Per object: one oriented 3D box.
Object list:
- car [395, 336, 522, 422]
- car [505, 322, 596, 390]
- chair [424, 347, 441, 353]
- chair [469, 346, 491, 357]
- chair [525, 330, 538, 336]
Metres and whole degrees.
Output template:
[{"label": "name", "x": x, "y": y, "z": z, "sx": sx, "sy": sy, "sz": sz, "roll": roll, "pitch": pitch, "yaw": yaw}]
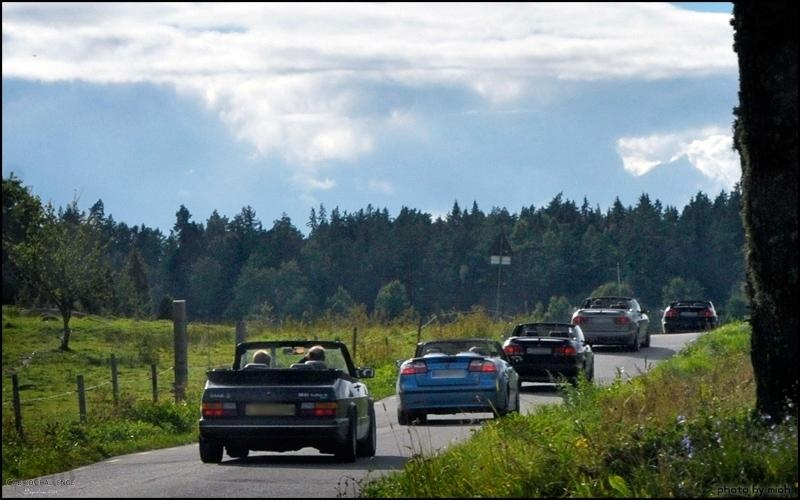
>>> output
[{"label": "car", "x": 1.405, "y": 3.225, "z": 29.853, "sx": 2.978, "sy": 2.135, "sz": 1.706, "roll": -1, "pitch": -9, "yaw": -1}, {"label": "car", "x": 4.295, "y": 2.955, "z": 34.535, "sx": 2.374, "sy": 1.807, "sz": 1.910, "roll": -3, "pitch": -9, "yaw": 7}, {"label": "chair", "x": 0.839, "y": 2.630, "z": 31.510, "sx": 0.247, "sy": 0.121, "sz": 0.382, "roll": 2, "pitch": 0, "yaw": 5}, {"label": "chair", "x": 2.046, "y": 2.619, "z": 30.741, "sx": 0.337, "sy": 0.276, "sz": 0.349, "roll": 1, "pitch": -2, "yaw": 1}, {"label": "chair", "x": 3.926, "y": 2.473, "z": 35.839, "sx": 0.230, "sy": 0.166, "sz": 0.169, "roll": 1, "pitch": -19, "yaw": -6}]
